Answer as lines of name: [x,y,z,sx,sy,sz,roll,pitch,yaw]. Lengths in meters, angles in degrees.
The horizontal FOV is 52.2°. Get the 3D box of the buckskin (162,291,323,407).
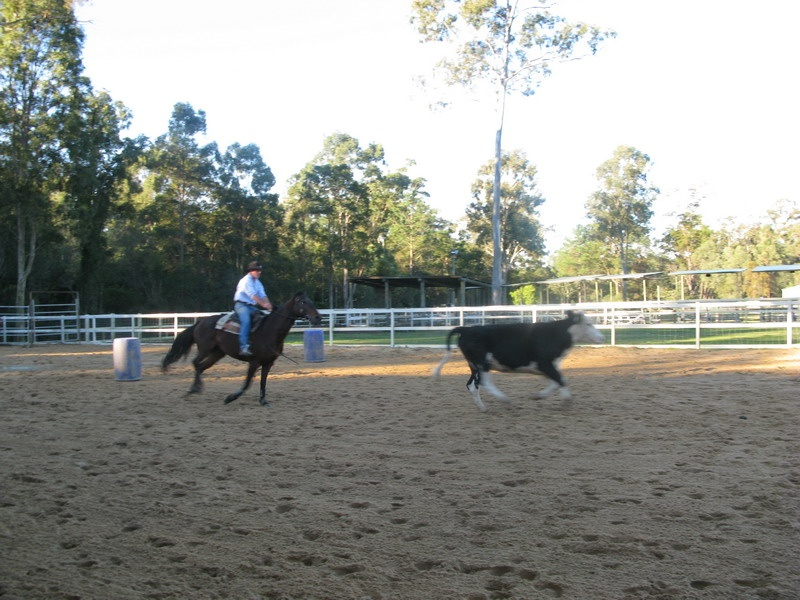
buckskin: [-2.696,0.796,13.939,3.877,1.683,0.805,-3,-10,39]

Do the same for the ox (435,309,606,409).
ox: [1.788,0.970,12.728,3.292,1.202,0.665,-3,-3,-27]
